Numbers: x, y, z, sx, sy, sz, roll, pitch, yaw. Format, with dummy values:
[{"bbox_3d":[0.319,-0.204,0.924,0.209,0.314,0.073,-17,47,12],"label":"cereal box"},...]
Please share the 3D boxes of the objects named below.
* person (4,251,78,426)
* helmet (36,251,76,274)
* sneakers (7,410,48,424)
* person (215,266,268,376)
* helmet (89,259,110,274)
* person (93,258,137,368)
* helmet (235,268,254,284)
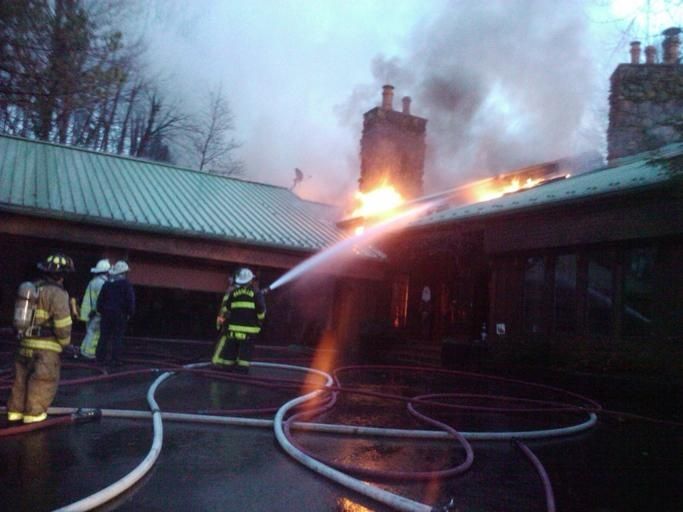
[{"bbox_3d":[-3.828,1.014,6.822,0.668,2.130,0.586,3,-6,-29],"label":"person"},{"bbox_3d":[-5.092,0.104,9.435,0.501,0.360,0.661,6,-7,-32],"label":"helmet"},{"bbox_3d":[-3.898,1.995,6.655,0.487,0.228,0.181,4,-4,-14],"label":"sneakers"},{"bbox_3d":[-1.921,1.142,9.918,0.964,1.836,0.656,-4,-7,36],"label":"person"},{"bbox_3d":[-5.536,0.225,12.228,0.379,0.287,0.308,-11,8,-15],"label":"helmet"},{"bbox_3d":[-4.412,1.095,10.379,0.677,1.994,0.568,-3,-7,32],"label":"person"},{"bbox_3d":[-1.873,0.401,10.320,0.408,0.203,0.420,0,1,-13],"label":"helmet"}]
